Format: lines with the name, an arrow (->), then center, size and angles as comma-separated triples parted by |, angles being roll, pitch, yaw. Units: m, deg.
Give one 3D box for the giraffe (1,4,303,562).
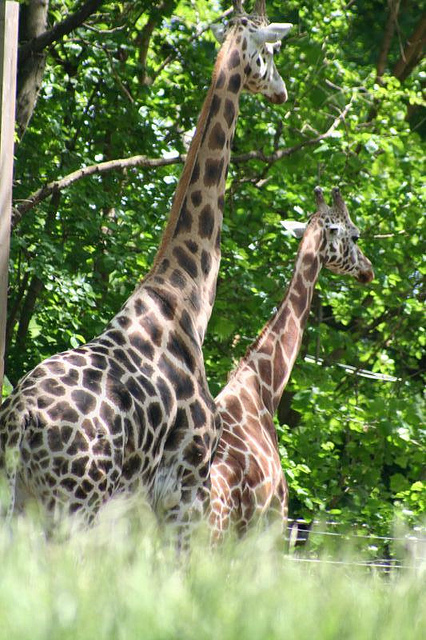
giraffe -> -0.236, -0.107, 5.211 | 0.580, 1.891, 1.835 | 5, 12, 13
